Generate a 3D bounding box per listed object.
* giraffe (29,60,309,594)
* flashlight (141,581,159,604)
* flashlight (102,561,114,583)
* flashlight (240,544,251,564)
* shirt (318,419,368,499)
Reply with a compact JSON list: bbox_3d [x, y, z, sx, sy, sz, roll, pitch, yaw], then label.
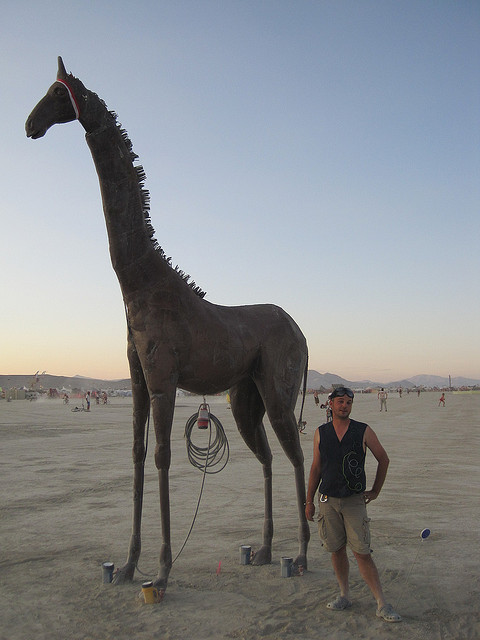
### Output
[{"bbox_3d":[-0.473,0.150,4.778,1.709,4.878,2.914,-2,-5,33],"label":"giraffe"},{"bbox_3d":[-0.726,2.239,3.860,0.136,0.156,0.085,1,-4,-6],"label":"flashlight"},{"bbox_3d":[-1.235,2.355,4.434,0.114,0.224,0.127,3,-5,-24],"label":"flashlight"},{"bbox_3d":[0.078,2.447,4.963,0.117,0.222,0.130,0,0,20],"label":"flashlight"},{"bbox_3d":[0.785,1.077,3.630,0.420,0.757,0.360,-3,-18,16],"label":"shirt"}]
